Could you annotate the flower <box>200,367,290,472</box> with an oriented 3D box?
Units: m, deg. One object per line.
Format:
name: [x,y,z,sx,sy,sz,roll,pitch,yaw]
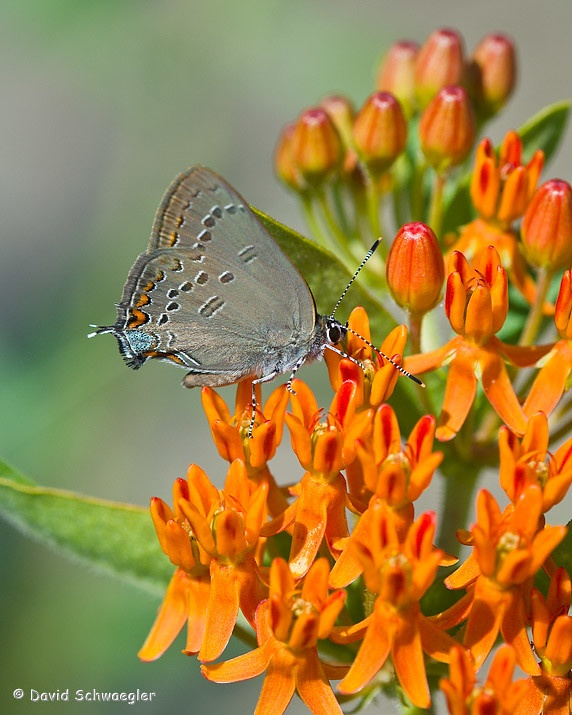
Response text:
flower: [-0.024,0.065,0.909,0.109,0.090,0.102,-12,-65,-31]

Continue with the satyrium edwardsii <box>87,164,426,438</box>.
satyrium edwardsii: [-0.052,-0.080,1.116,0.426,0.330,0.294,-4,-84,-38]
